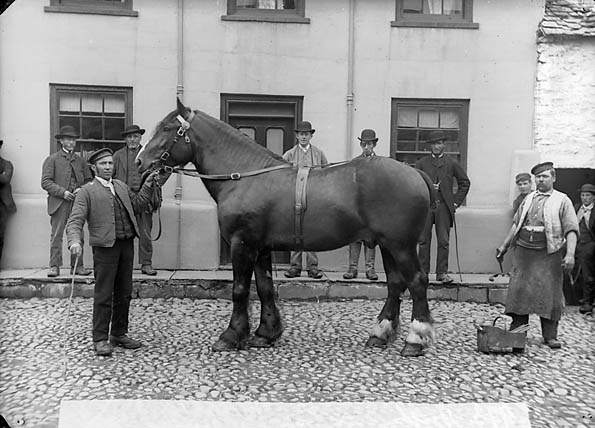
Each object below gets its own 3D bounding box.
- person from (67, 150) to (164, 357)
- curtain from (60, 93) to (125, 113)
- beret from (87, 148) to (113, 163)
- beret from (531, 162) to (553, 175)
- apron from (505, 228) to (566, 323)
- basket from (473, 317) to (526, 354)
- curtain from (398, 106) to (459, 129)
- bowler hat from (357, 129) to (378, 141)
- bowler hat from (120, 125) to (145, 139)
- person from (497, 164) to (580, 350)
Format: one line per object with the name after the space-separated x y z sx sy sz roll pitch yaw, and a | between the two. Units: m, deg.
-2.339 0.468 12.117 1.097 2.536 0.968 -1 9 -9 | person
-3.142 -1.679 14.507 0.964 0.298 0.034 -1 8 -6 | curtain
-2.517 -0.733 12.076 0.279 0.179 0.176 -1 9 -5 | beret
3.259 -0.592 12.499 0.250 0.158 0.201 3 9 21 | beret
3.229 0.834 12.660 0.716 1.254 0.640 6 12 19 | apron
2.610 1.596 12.325 0.662 0.467 0.355 1 0 -11 | basket
2.054 -1.477 14.687 0.932 0.320 0.140 1 8 6 | curtain
1.078 -1.155 14.037 0.251 0.158 0.343 1 9 6 | bowler hat
-2.444 -1.221 14.126 0.354 0.170 0.278 -2 9 -15 | bowler hat
3.222 0.366 12.457 0.937 1.983 0.446 2 9 14 | person
